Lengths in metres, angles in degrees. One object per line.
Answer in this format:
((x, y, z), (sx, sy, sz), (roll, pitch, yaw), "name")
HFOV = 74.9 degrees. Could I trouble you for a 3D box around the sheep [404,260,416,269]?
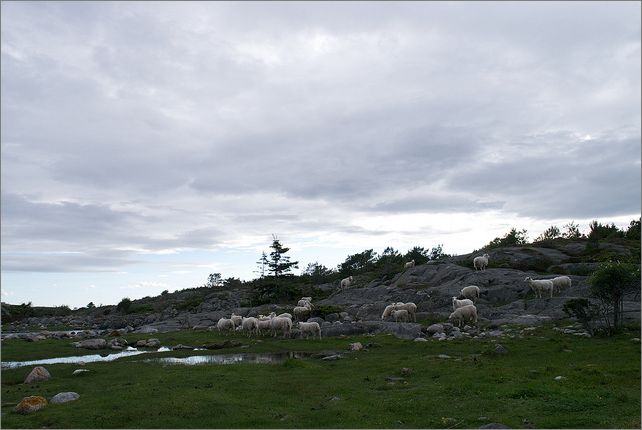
((16.165, 9.617, 77.489), (2.077, 0.710, 3.542), (-1, -14, -7), "sheep")
